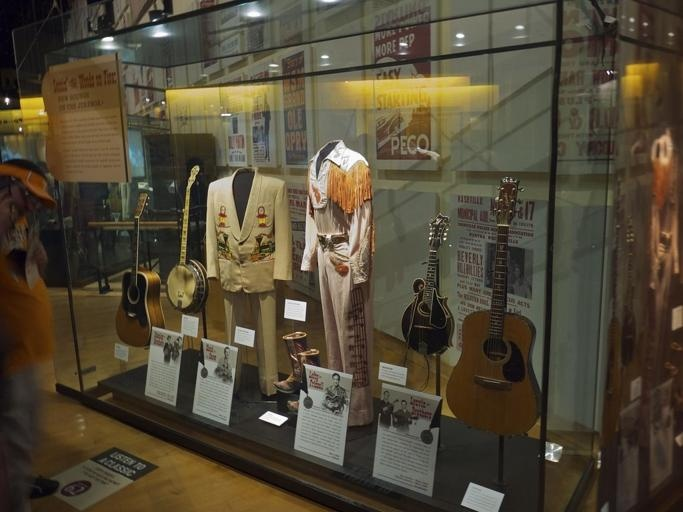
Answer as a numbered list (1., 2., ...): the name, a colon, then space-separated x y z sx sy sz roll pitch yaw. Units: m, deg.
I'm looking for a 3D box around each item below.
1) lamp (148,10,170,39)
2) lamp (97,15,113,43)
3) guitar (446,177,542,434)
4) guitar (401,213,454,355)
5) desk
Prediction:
1. lamp: -1.052 -1.357 3.319 0.103 0.164 0.253 -3 10 -17
2. lamp: -1.394 -1.356 3.401 0.115 0.155 0.035 4 10 25
3. guitar: 0.710 0.256 2.657 0.430 1.211 0.182 3 9 22
4. guitar: 0.452 0.153 2.996 0.283 0.735 0.176 3 9 17
5. desk: -1.481 -0.080 3.924 0.409 0.388 0.233 0 12 -1
